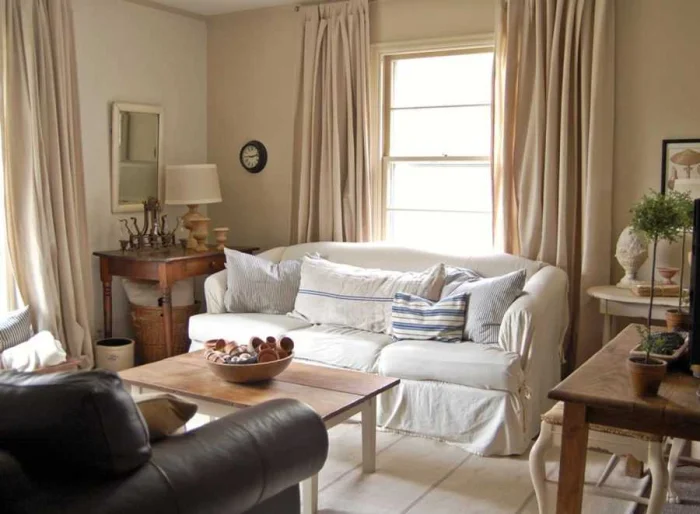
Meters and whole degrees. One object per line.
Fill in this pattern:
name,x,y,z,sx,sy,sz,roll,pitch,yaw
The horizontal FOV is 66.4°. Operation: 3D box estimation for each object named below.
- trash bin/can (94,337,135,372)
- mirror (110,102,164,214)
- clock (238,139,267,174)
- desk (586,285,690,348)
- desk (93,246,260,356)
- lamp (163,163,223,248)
trash bin/can,-1.877,0.786,4.266,0.277,0.202,0.274,6,3,42
mirror,-1.848,-0.858,4.651,0.118,0.919,0.571,8,15,32
clock,-0.895,-0.937,4.992,0.284,0.308,0.075,7,14,29
desk,1.800,0.455,3.501,0.466,0.452,0.358,1,7,21
desk,-1.427,0.294,4.554,0.850,0.975,1.153,2,4,29
lamp,-1.353,-0.429,4.716,0.507,0.747,0.496,-3,4,9
